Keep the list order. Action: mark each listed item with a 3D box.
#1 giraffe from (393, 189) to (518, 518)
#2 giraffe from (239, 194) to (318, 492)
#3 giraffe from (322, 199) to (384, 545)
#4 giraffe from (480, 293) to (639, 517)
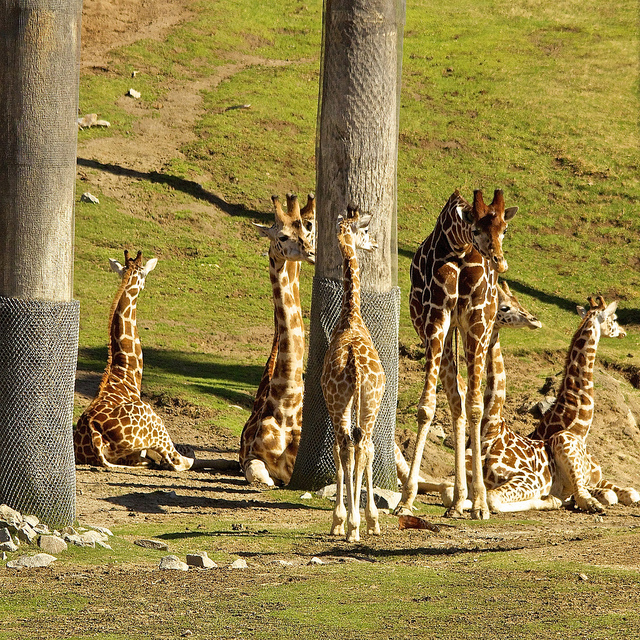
[{"bbox_3d":[1.950,0.397,29.327,1.366,4.528,1.323,4,9,5],"label":"giraffe"},{"bbox_3d":[-0.582,0.277,30.764,0.948,4.241,1.361,6,9,19],"label":"giraffe"},{"bbox_3d":[0.478,0.679,28.558,0.855,4.237,2.595,3,9,1],"label":"giraffe"},{"bbox_3d":[3.426,1.498,30.638,2.784,4.166,2.142,3,-5,-15],"label":"giraffe"}]
